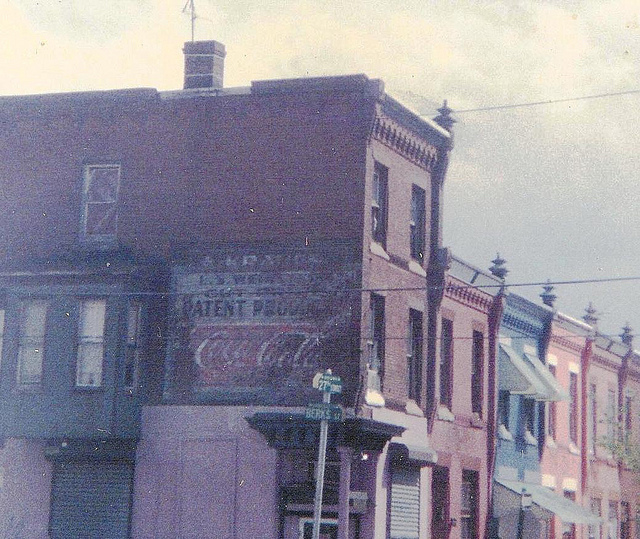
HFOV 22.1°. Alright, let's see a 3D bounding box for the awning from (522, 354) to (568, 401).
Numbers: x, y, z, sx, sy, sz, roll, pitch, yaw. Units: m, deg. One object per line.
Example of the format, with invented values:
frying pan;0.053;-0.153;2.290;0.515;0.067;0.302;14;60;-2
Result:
awning;7.209;3.404;52.718;1.345;1.025;2.430;-2;-2;9
